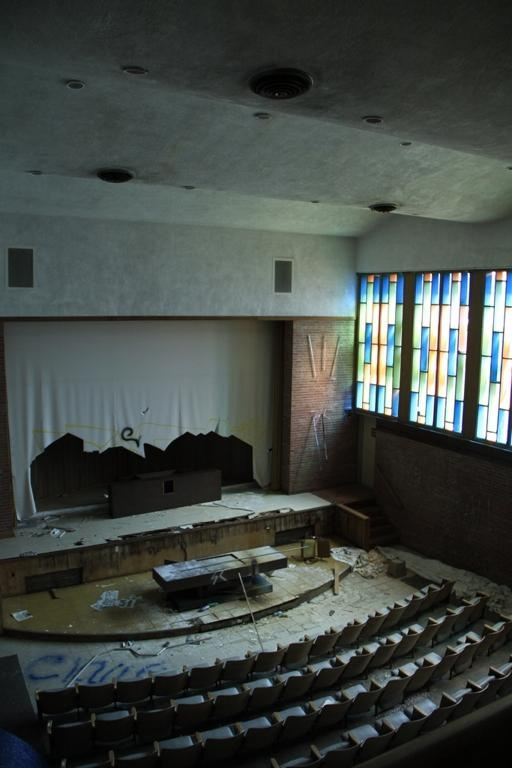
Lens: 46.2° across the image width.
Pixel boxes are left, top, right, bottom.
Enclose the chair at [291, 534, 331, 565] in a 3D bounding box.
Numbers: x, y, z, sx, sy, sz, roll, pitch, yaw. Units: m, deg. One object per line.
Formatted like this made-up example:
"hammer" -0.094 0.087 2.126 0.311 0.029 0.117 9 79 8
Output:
"chair" 1.061 3.240 11.631 0.533 0.351 0.545 -1 0 -27
